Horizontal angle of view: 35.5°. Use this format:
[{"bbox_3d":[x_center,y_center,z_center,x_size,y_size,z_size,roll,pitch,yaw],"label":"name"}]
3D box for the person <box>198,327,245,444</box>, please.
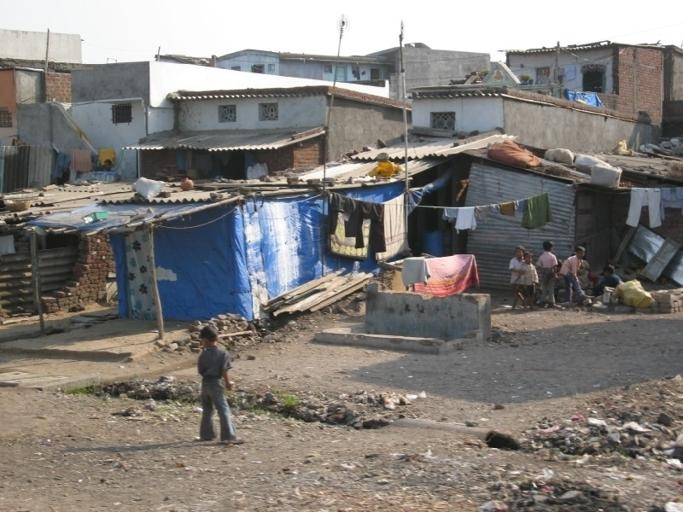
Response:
[{"bbox_3d":[-2.072,2.170,17.835,0.523,1.921,0.670,-7,10,-38],"label":"person"}]
